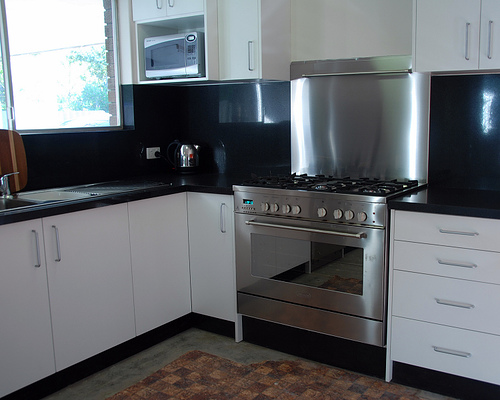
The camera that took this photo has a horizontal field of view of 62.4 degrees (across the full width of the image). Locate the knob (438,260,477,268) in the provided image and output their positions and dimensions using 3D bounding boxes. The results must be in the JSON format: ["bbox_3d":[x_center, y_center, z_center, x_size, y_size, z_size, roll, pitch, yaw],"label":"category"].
[{"bbox_3d":[1.062,0.326,2.085,0.152,0.023,0.022,10,31,28],"label":"knob"}]

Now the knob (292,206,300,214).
[{"bbox_3d":[0.280,0.062,2.508,0.039,0.040,0.014,10,8,37],"label":"knob"}]

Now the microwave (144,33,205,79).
[{"bbox_3d":[-0.557,-1.088,3.177,0.449,0.307,0.254,2,10,21],"label":"microwave"}]

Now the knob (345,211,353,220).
[{"bbox_3d":[0.562,0.090,2.333,0.040,0.045,0.013,0,11,12],"label":"knob"}]

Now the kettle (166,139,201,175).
[{"bbox_3d":[-0.555,-0.350,3.615,0.259,0.342,0.252,9,14,35],"label":"kettle"}]

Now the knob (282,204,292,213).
[{"bbox_3d":[0.228,0.060,2.551,0.048,0.045,0.013,-2,0,34],"label":"knob"}]

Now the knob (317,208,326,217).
[{"bbox_3d":[0.423,0.077,2.433,0.053,0.054,0.016,4,12,28],"label":"knob"}]

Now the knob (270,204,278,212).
[{"bbox_3d":[0.150,0.052,2.596,0.044,0.076,0.039,4,6,36],"label":"knob"}]

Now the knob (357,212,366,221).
[{"bbox_3d":[0.611,0.089,2.279,0.041,0.041,0.010,5,1,43],"label":"knob"}]

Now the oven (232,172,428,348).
[{"bbox_3d":[0.469,0.319,2.772,0.992,0.939,0.720,4,9,27],"label":"oven"}]

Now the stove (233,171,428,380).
[{"bbox_3d":[0.514,0.439,2.850,1.021,1.155,0.753,4,8,33],"label":"stove"}]

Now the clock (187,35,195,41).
[{"bbox_3d":[-0.425,-1.165,2.971,0.077,0.042,0.010,7,14,40],"label":"clock"}]

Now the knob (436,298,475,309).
[{"bbox_3d":[1.054,0.537,2.114,0.180,0.023,0.009,5,13,33],"label":"knob"}]

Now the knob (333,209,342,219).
[{"bbox_3d":[0.509,0.084,2.380,0.046,0.056,0.024,-1,11,7],"label":"knob"}]
